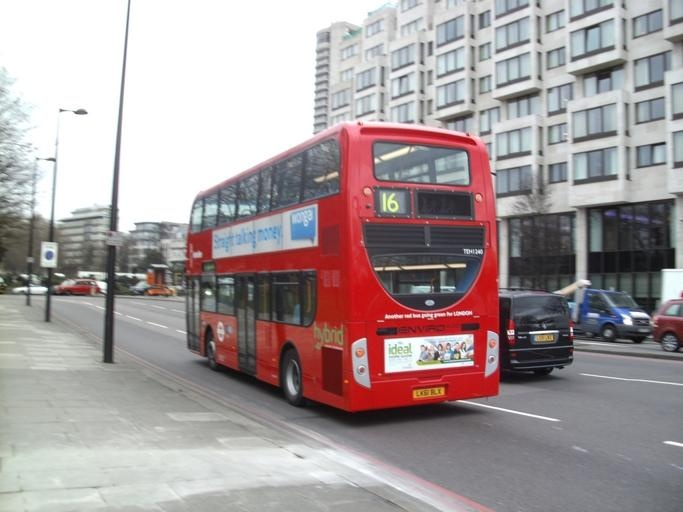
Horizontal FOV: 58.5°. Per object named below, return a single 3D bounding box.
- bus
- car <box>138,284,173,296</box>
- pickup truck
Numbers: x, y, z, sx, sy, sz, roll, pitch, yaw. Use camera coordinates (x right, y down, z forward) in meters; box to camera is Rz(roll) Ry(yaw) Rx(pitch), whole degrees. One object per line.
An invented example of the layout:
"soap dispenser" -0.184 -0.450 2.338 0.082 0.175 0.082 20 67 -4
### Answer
"bus" -0.966 0.534 15.347 3.591 5.130 10.932 -1 -2 -29
"car" -22.252 4.176 74.075 3.018 0.948 1.436 6 -3 0
"pickup truck" 11.589 2.617 27.697 2.350 2.335 5.005 6 -7 -24
